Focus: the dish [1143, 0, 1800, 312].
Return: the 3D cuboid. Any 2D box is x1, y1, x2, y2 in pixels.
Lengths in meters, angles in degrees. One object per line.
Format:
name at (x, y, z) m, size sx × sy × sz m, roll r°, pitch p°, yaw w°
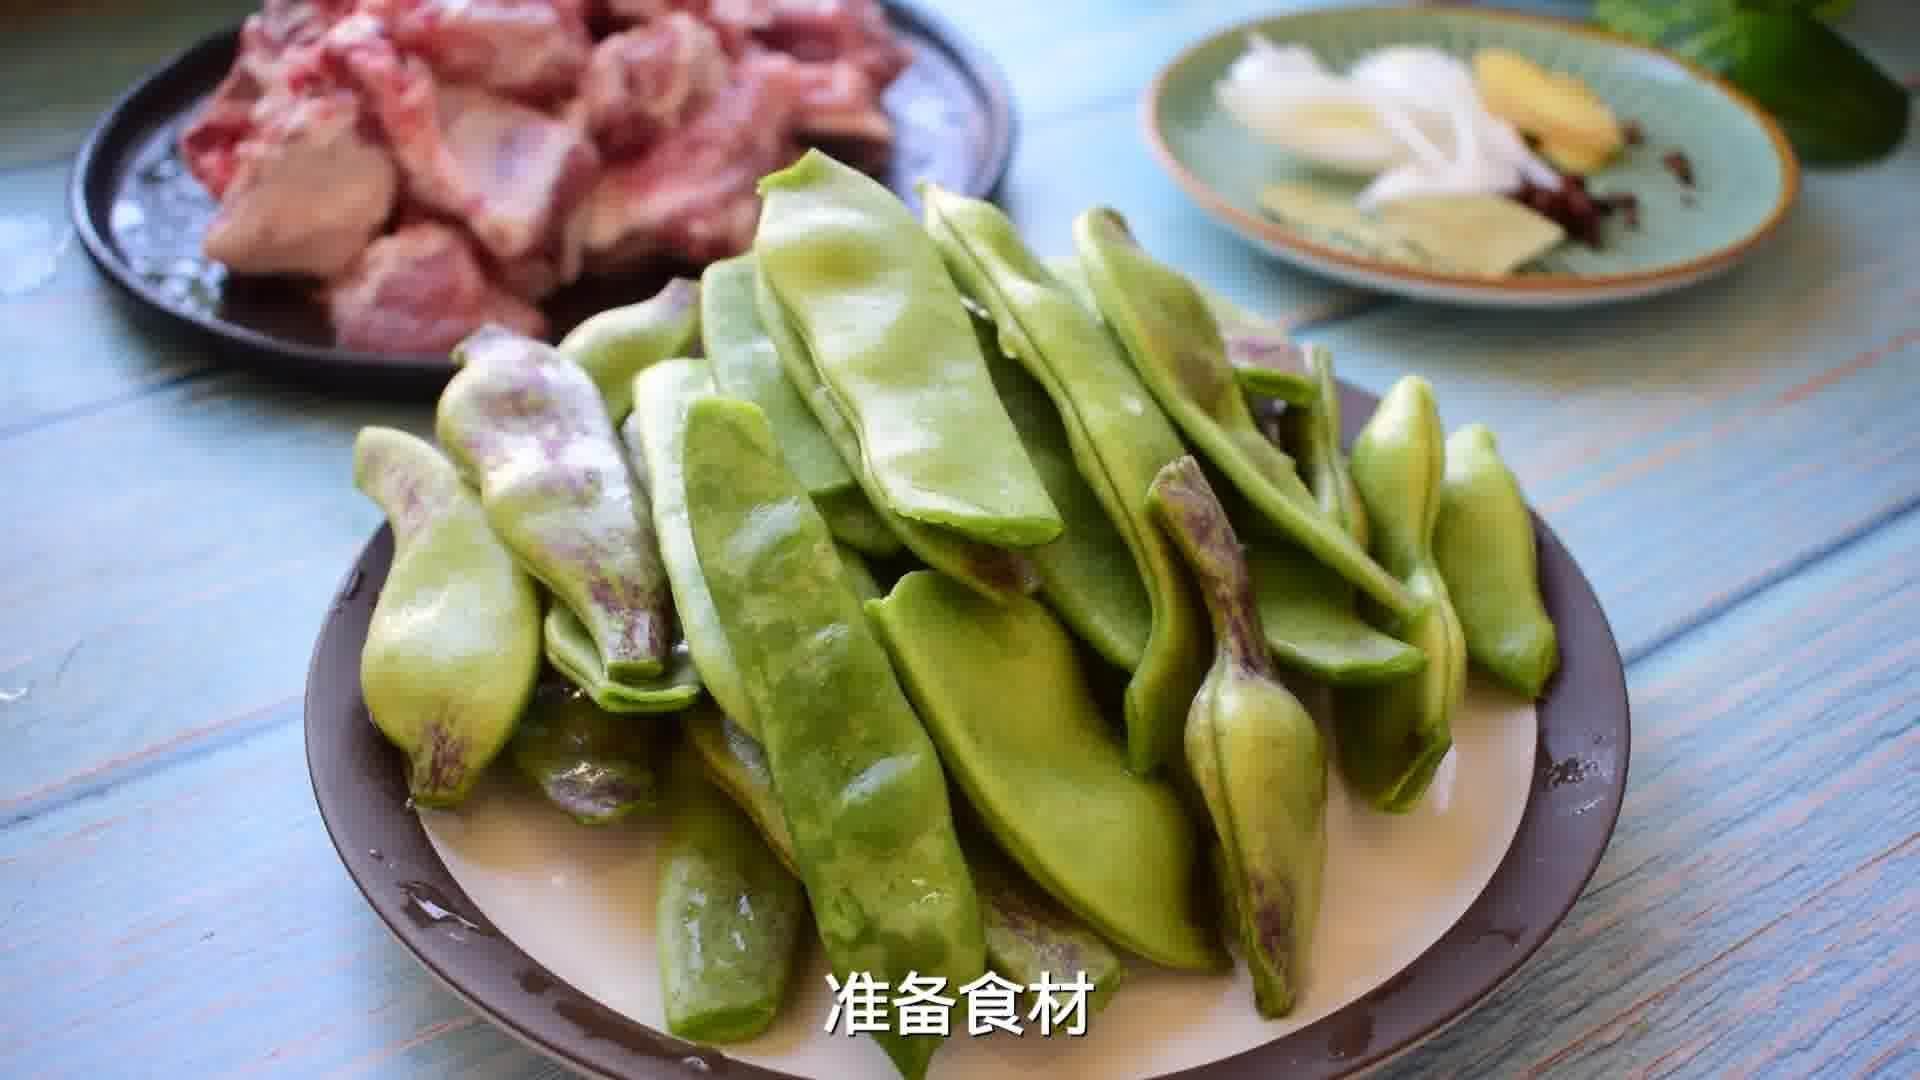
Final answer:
dish at (0.473, -0.280, 1.393) m, size 0.356 × 0.062 × 0.354 m, roll 31°, pitch 49°, yaw 28°
